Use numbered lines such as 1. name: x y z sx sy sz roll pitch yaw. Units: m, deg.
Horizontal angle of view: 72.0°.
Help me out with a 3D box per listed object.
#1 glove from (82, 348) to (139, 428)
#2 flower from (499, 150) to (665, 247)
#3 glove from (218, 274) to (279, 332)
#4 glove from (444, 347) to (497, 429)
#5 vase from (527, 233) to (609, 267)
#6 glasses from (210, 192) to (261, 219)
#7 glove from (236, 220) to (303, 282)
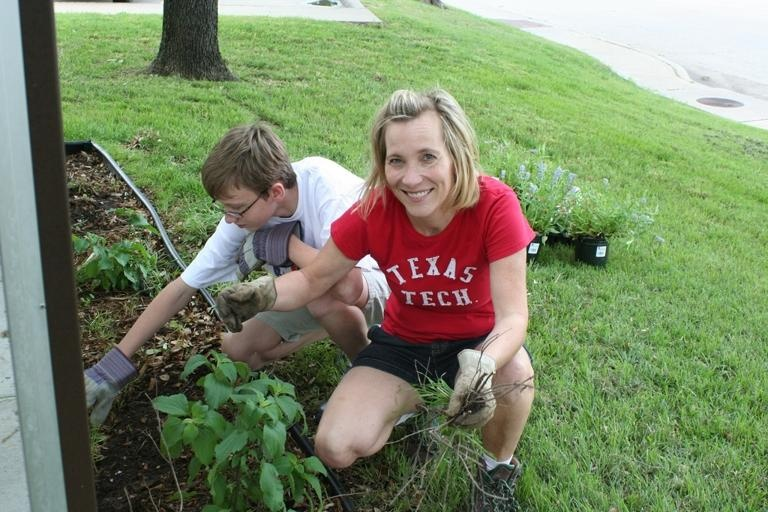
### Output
1. glove: -1.358 0.635 2.590 0.141 0.365 0.217 35 36 28
2. flower: 1.794 -0.520 4.980 1.238 0.742 1.337 12 23 1
3. glove: -0.678 0.206 2.669 0.285 0.219 0.282 -34 -5 13
4. glove: 0.358 0.556 2.249 0.230 0.313 0.145 0 -2 -4
5. vase: 1.689 -0.084 4.755 0.586 0.215 0.365 2 6 27
6. glasses: -0.814 -0.275 2.895 0.226 0.064 0.230 22 64 37
7. glove: -0.662 -0.053 2.905 0.358 0.154 0.289 -33 41 -4
